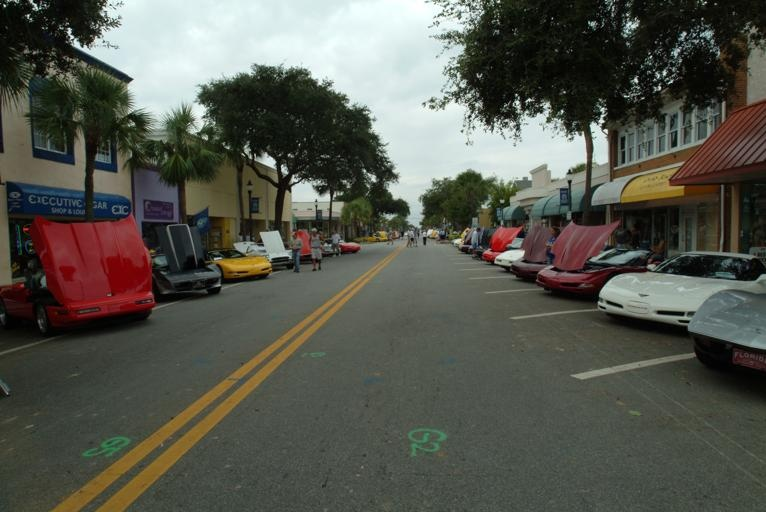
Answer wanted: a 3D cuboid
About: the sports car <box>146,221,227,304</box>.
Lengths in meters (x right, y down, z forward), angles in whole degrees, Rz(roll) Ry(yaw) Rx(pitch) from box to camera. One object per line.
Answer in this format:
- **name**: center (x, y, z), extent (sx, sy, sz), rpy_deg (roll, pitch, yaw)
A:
- **sports car**: center (-5.906, 0.130, 19.334), extent (1.352, 1.529, 2.781), rpy_deg (-3, 6, -39)
